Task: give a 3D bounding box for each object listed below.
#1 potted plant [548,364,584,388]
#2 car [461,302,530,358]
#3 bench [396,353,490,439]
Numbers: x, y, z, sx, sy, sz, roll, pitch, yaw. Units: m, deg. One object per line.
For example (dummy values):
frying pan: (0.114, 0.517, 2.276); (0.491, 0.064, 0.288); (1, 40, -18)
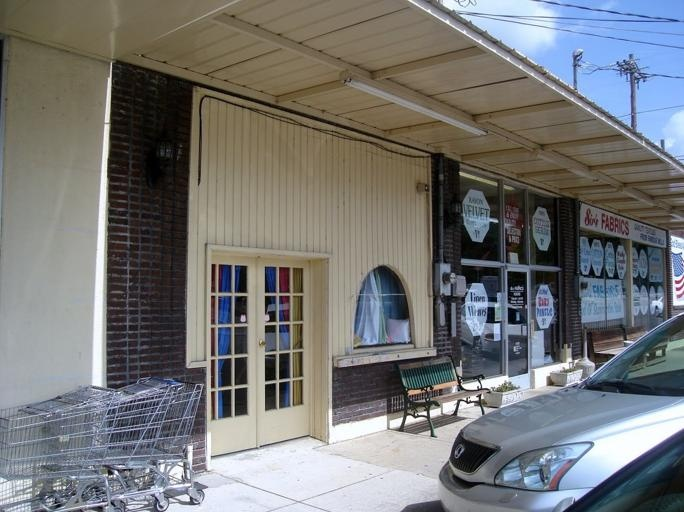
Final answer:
potted plant: (4.996, 2.663, 13.587); (0.369, 0.263, 0.715); (0, 0, 35)
car: (2.931, 1.470, 12.187); (1.618, 0.882, 0.939); (-1, 2, -38)
bench: (1.666, 2.256, 9.951); (0.721, 1.200, 1.913); (-5, -7, 36)
